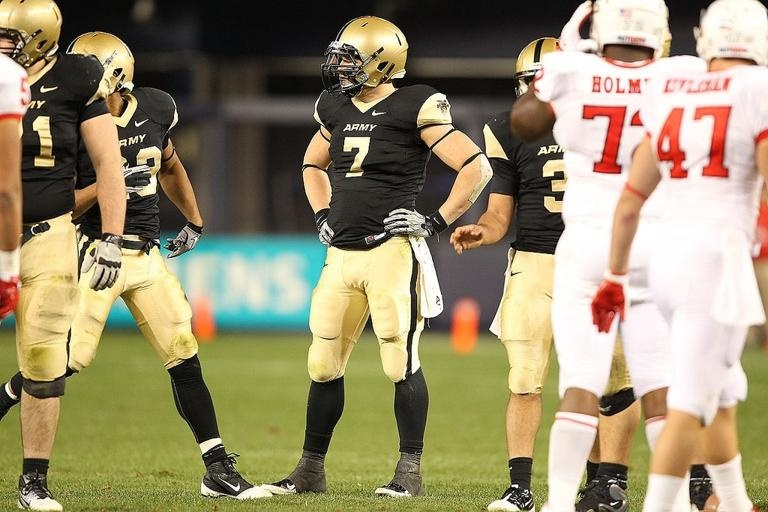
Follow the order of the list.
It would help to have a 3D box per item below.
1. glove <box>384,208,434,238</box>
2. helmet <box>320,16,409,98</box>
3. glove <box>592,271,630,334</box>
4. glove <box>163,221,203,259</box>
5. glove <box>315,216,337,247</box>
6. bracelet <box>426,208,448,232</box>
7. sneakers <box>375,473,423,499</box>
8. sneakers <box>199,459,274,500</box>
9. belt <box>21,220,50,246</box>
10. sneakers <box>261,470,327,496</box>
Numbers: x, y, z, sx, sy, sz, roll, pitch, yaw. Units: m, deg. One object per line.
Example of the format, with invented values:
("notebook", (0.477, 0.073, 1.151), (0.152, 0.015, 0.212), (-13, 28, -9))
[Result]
("glove", (0.148, -0.202, 6.099), (0.259, 0.164, 0.087), (1, -8, -7))
("helmet", (-0.159, -1.292, 6.442), (0.563, 0.496, 0.447), (-2, 5, -12))
("glove", (1.106, 0.227, 4.801), (0.161, 0.274, 0.073), (9, 25, 11))
("glove", (-1.400, -0.094, 6.738), (0.265, 0.131, 0.272), (-26, 16, 19))
("glove", (-0.361, -0.158, 6.354), (0.081, 0.137, 0.182), (-12, 27, -18))
("bracelet", (0.322, -0.204, 6.163), (0.139, 0.116, 0.105), (20, -48, -32))
("sneakers", (0.101, 1.373, 5.884), (0.230, 0.095, 0.125), (5, -8, -15))
("sneakers", (-0.843, 1.321, 5.865), (0.486, 0.303, 0.182), (3, -4, 0))
("belt", (-1.947, -0.122, 5.450), (0.136, 0.051, 0.100), (-32, -10, 14))
("sneakers", (-0.564, 1.384, 6.030), (0.387, 0.167, 0.140), (6, -15, -7))
